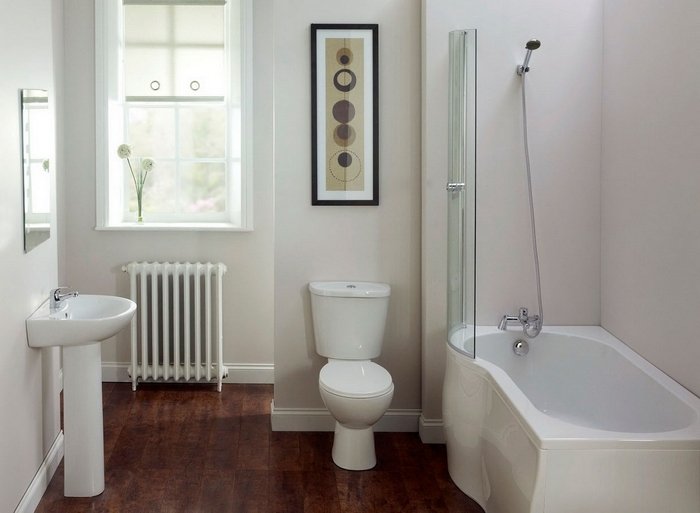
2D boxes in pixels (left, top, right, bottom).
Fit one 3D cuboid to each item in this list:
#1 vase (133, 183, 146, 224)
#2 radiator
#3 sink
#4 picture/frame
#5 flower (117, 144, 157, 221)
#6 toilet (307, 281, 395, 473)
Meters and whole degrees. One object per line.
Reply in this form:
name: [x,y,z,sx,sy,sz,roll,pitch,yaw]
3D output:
vase: [-1.560,-0.409,4.315,0.065,0.292,0.165,-4,15,-20]
radiator: [-1.247,0.473,4.124,0.828,1.048,0.200,1,2,-4]
sink: [-1.412,0.371,3.023,0.300,0.111,0.354,1,9,-7]
picture/frame: [-0.034,-0.869,3.563,0.408,1.060,0.181,0,14,-3]
flower: [-1.602,-0.543,4.343,0.272,0.532,0.336,8,15,-20]
toilet: [-0.001,0.693,3.440,0.491,0.935,0.649,0,14,-4]
